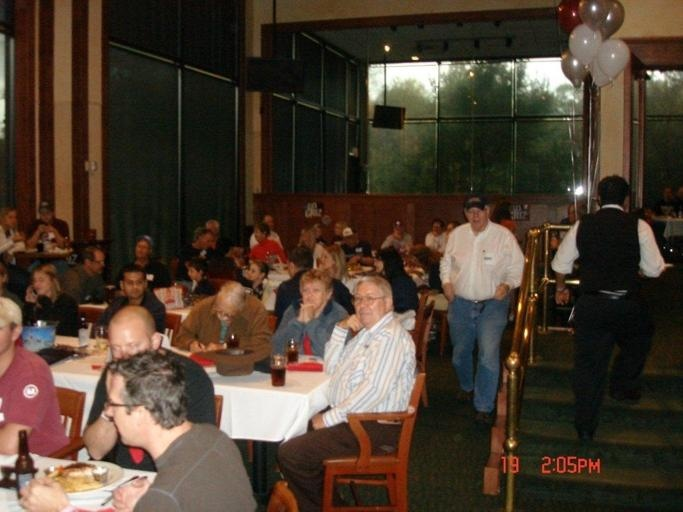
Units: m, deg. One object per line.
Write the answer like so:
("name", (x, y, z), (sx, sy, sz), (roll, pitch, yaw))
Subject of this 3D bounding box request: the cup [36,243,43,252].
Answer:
("cup", (-3.939, -0.124, 8.439), (0.120, 0.124, 0.122), (2, -3, 0))

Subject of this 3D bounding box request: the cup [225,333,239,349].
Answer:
("cup", (-0.761, 0.581, 4.527), (0.088, 0.149, 0.093), (-1, 4, 0))

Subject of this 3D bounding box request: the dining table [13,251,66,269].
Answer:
("dining table", (-3.761, 0.019, 8.051), (0.406, 0.312, 0.427), (1, 0, 8))

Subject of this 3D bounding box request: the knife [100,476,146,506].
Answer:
("knife", (-0.919, 0.988, 2.709), (0.254, 0.033, 0.045), (-29, 36, -4))
